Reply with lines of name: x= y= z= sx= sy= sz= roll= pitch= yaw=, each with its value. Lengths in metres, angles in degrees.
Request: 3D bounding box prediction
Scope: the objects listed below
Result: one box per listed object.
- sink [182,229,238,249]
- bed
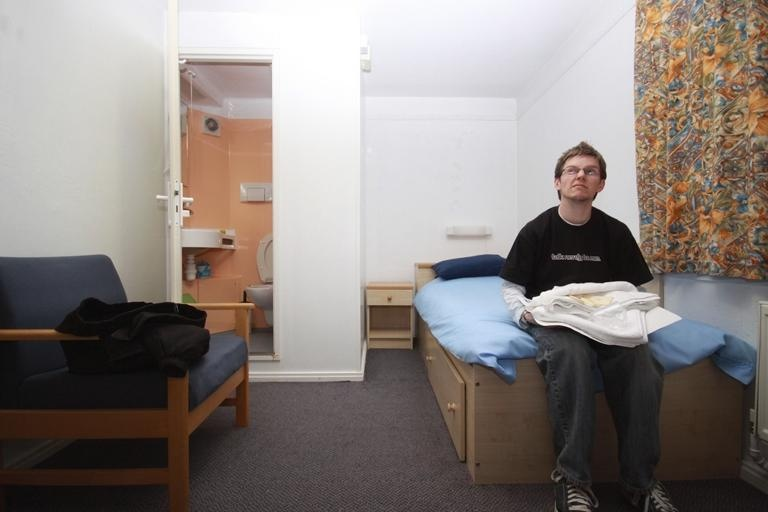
sink: x=-1.571 y=-0.150 z=4.931 sx=0.182 sy=0.214 sz=0.756 roll=1 pitch=6 yaw=15
bed: x=1.219 y=0.706 z=3.155 sx=1.092 sy=0.656 sz=1.446 roll=0 pitch=7 yaw=3
